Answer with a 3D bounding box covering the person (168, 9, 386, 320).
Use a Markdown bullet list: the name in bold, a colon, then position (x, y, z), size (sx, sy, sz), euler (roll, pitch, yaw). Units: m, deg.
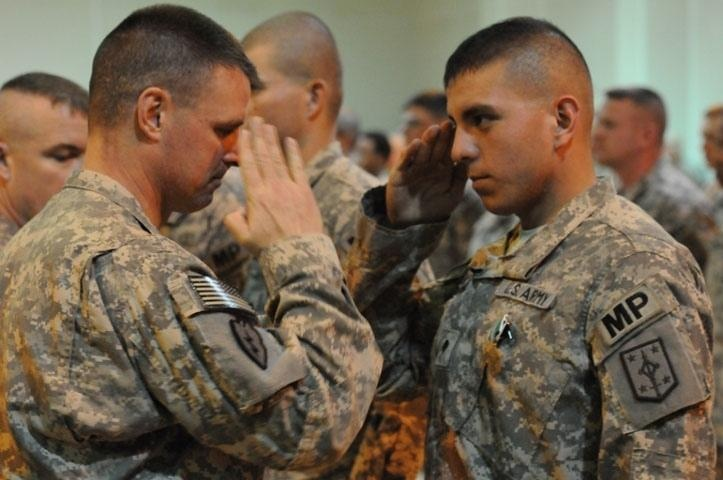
- **person**: position (-0.313, -0.455, 6.011), size (0.826, 1.355, 1.757), euler (0, 16, -22)
